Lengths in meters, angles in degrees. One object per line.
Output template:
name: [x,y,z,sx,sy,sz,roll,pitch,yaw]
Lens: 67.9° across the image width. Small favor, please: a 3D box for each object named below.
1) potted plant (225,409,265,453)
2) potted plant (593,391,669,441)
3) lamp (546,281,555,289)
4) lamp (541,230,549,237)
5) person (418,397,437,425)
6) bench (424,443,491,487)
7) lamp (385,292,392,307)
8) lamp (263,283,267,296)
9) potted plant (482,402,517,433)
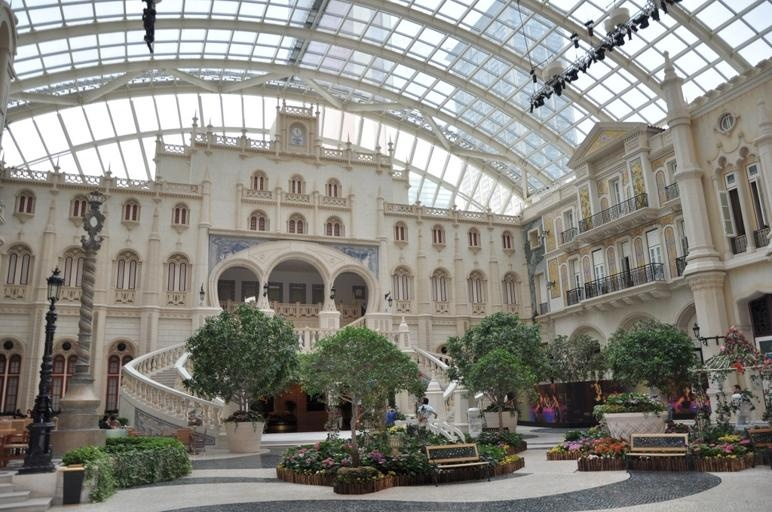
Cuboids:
potted plant: [-6.039,7.885,24.769,1.671,1.252,1.695,-13,-20,34]
potted plant: [8.663,5.646,20.093,1.634,1.145,1.586,0,-4,29]
lamp: [11.733,2.098,40.823,0.465,0.342,0.396,16,-18,-25]
lamp: [11.703,-1.588,42.110,0.137,0.522,0.857,7,-20,-21]
person: [1.448,5.784,21.231,0.527,1.001,2.130,-3,-18,7]
bench: [2.240,6.477,17.786,2.229,1.128,0.779,10,-22,-31]
lamp: [0.186,3.122,40.012,0.280,1.067,0.727,-10,-21,24]
lamp: [-7.918,2.263,37.482,0.203,0.918,0.301,-13,-22,31]
potted plant: [5.757,8.100,28.596,1.977,1.263,1.435,-2,-12,8]
